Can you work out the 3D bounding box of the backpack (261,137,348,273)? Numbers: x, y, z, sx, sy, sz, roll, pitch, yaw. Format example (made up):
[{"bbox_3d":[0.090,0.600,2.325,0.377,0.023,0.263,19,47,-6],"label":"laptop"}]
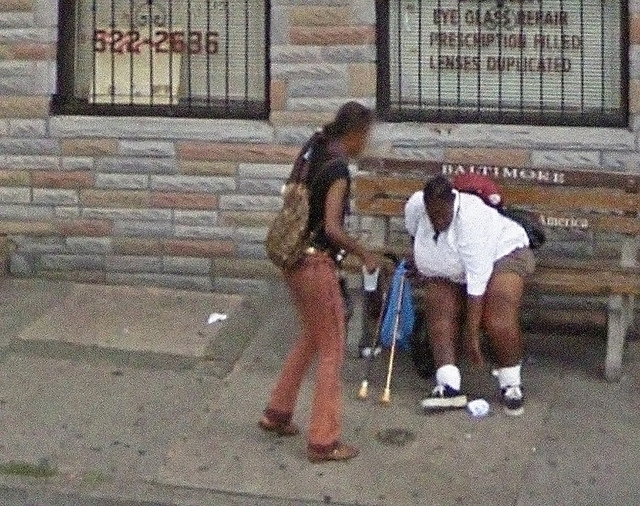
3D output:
[{"bbox_3d":[-0.076,-0.310,5.297,0.484,0.882,0.464,6,2,-22],"label":"backpack"}]

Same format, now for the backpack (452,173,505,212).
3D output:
[{"bbox_3d":[1.298,-0.516,6.417,0.349,0.179,0.460,11,7,8],"label":"backpack"}]

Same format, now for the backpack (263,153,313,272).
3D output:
[{"bbox_3d":[-0.184,-0.267,5.193,0.292,0.740,0.307,8,14,30],"label":"backpack"}]

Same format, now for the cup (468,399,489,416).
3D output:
[{"bbox_3d":[1.177,1.126,5.822,0.173,0.077,0.123,-3,13,-15],"label":"cup"}]

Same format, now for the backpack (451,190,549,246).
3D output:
[{"bbox_3d":[1.510,-0.233,6.368,0.668,0.243,0.510,29,-1,-18],"label":"backpack"}]

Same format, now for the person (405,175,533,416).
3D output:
[{"bbox_3d":[1.116,0.277,5.926,0.924,1.689,0.809,2,12,8],"label":"person"}]
